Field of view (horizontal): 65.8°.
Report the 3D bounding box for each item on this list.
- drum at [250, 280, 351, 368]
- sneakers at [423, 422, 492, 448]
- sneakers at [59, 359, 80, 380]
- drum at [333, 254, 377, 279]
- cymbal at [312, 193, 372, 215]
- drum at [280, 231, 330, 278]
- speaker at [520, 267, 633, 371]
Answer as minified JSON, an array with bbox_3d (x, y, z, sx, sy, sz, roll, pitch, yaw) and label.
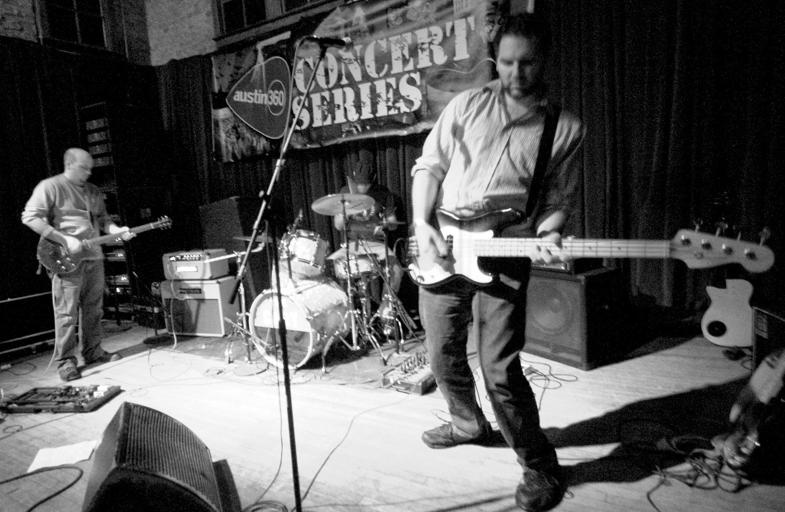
[{"bbox_3d":[-0.996,0.616,6.547,0.957,0.964,0.940,4,10,26],"label":"drum"},{"bbox_3d":[0.549,1.485,5.095,0.579,0.255,0.221,1,-9,7],"label":"sneakers"},{"bbox_3d":[-3.465,1.227,6.567,0.242,0.207,0.207,5,9,43],"label":"sneakers"},{"bbox_3d":[-0.403,0.121,6.573,0.515,0.306,0.380,0,7,8],"label":"drum"},{"bbox_3d":[-0.488,-0.548,6.386,0.569,0.239,0.636,1,6,19],"label":"cymbal"},{"bbox_3d":[-0.912,0.000,6.453,0.490,0.361,0.500,4,-23,1],"label":"drum"},{"bbox_3d":[1.789,0.501,6.534,0.959,1.290,1.305,-8,5,-29],"label":"speaker"}]
